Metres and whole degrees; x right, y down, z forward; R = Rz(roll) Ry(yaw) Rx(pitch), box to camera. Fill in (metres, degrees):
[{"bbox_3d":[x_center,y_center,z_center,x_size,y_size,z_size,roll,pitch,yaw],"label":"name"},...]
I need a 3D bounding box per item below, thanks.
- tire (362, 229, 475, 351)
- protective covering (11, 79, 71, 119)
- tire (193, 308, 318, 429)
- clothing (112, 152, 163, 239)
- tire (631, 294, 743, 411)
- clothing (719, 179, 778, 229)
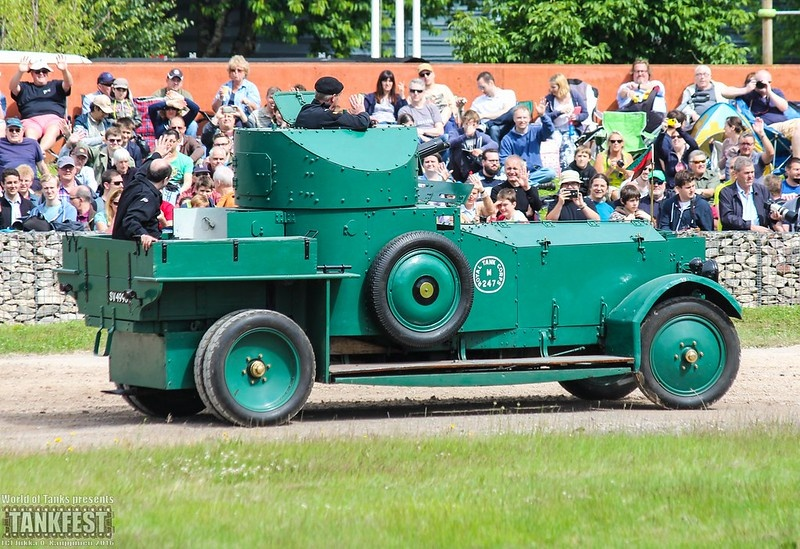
[{"bbox_3d":[0.216,0.217,25.707,1.439,1.793,0.311,0,-2,-13],"label":"tire"},{"bbox_3d":[-6.980,-3.310,34.030,1.122,0.963,0.657,-6,-13,-10],"label":"protective covering"},{"bbox_3d":[-2.098,1.332,25.192,1.297,1.597,0.493,5,-1,-18],"label":"tire"},{"bbox_3d":[-3.989,-1.142,26.660,0.307,1.093,1.095,0,45,-18],"label":"clothing"},{"bbox_3d":[4.298,1.150,26.287,1.358,1.691,0.419,-2,-1,-11],"label":"tire"},{"bbox_3d":[6.448,-1.240,32.588,0.860,1.038,0.845,2,-8,-9],"label":"clothing"}]
